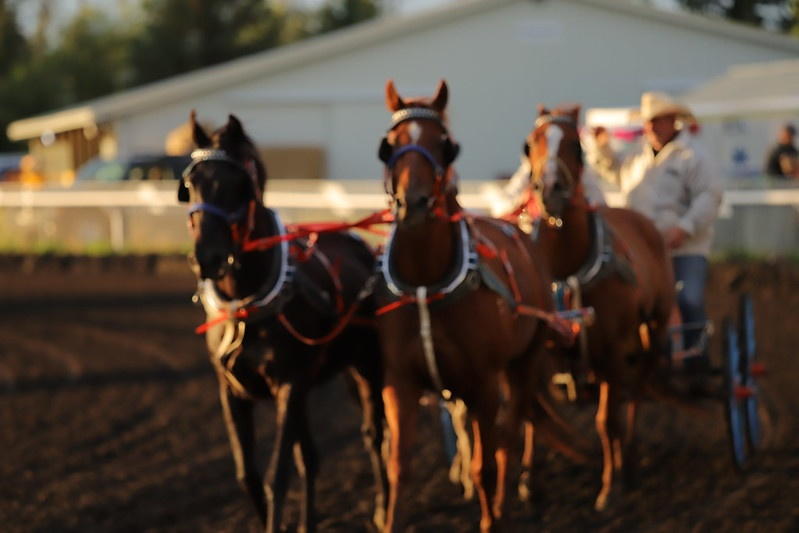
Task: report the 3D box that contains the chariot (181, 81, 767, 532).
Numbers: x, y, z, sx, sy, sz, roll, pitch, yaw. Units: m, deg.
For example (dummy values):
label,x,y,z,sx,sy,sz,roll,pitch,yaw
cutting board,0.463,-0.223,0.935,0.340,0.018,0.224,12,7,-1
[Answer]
label,x,y,z,sx,sy,sz,roll,pitch,yaw
chariot,0.558,0.318,9.091,4.249,3.740,1.603,-10,11,-33

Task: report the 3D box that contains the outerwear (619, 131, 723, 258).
label,x,y,z,sx,sy,sz,roll,pitch,yaw
outerwear,2.581,-0.726,10.344,0.425,0.944,1.787,-8,-35,19

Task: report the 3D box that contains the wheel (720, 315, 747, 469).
label,x,y,z,sx,sy,sz,roll,pitch,yaw
wheel,3.009,1.140,9.961,0.210,1.346,0.058,0,-7,0
